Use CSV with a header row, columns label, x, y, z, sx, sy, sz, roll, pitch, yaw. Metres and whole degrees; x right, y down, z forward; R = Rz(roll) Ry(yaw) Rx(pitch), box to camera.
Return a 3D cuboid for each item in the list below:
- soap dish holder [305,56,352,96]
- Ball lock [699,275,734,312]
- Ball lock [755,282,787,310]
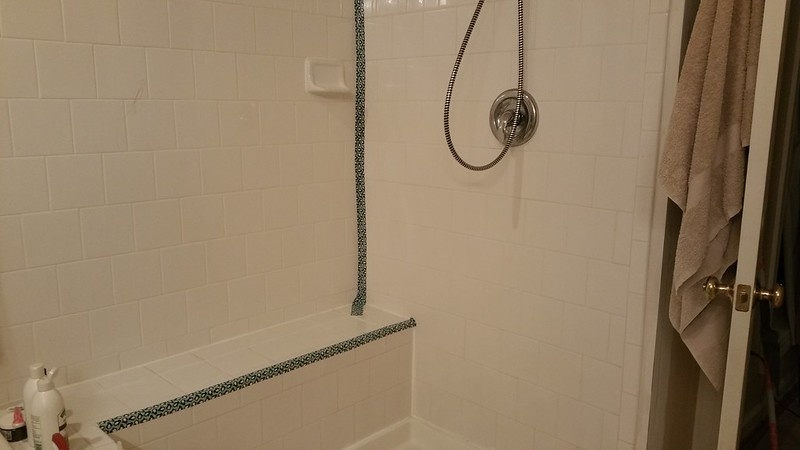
label,x,y,z,sx,sy,sz,roll,pitch,yaw
soap dish holder,-0.401,-0.849,3.365,0.307,0.156,0.206,-18,-68,-53
Ball lock,1.330,0.279,2.514,0.097,0.157,0.092,-15,-75,-38
Ball lock,1.484,0.278,2.358,0.078,0.133,0.087,-21,-69,-54
